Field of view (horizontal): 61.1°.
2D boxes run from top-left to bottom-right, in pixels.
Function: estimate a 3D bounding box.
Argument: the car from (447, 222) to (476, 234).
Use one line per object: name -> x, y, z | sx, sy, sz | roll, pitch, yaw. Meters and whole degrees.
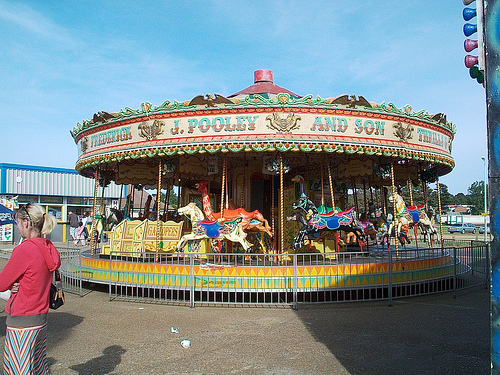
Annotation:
car -> 24.089, 4.702, 48.396 | 2.444, 0.808, 1.452 | 1, -5, -4
